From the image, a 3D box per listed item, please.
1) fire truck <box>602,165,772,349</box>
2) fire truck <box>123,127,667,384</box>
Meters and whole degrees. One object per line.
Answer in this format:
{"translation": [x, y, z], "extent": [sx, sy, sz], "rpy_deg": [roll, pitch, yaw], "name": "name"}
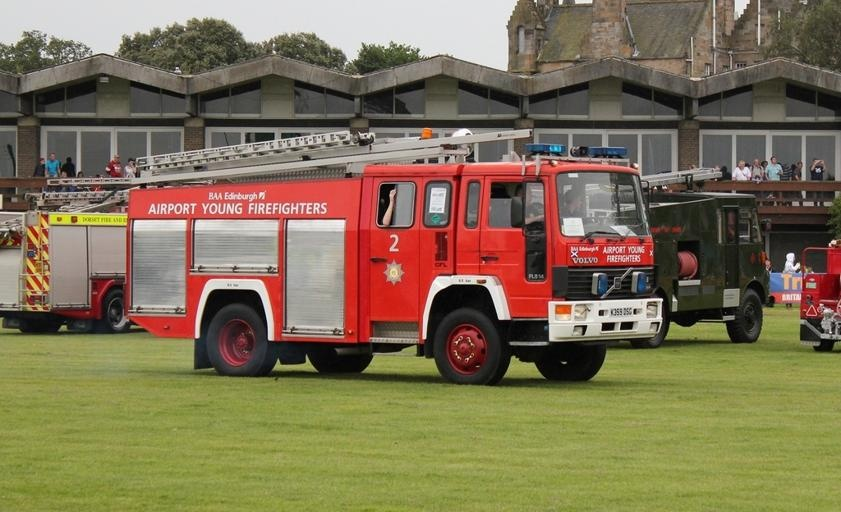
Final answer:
{"translation": [6.781, 0.120, 43.036], "extent": [2.781, 4.489, 7.942], "rpy_deg": [1, 2, 44], "name": "fire truck"}
{"translation": [-0.682, 0.083, 34.867], "extent": [11.485, 6.064, 1.992], "rpy_deg": [4, 16, 12], "name": "fire truck"}
